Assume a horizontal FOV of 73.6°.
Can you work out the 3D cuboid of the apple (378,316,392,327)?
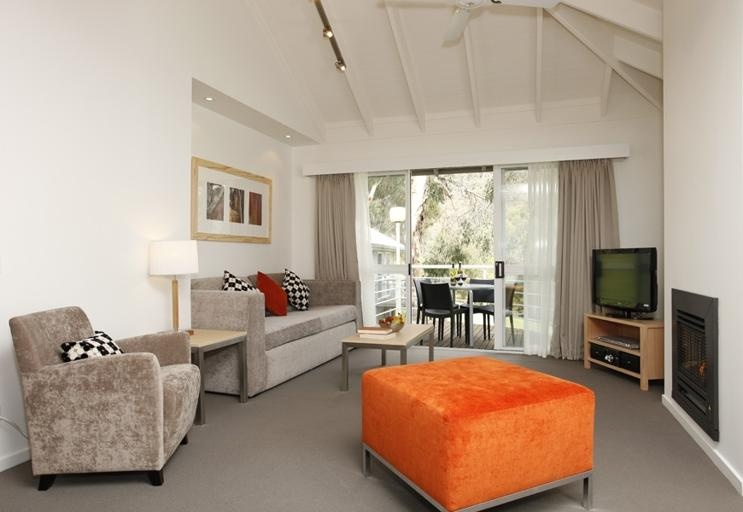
[{"bbox_3d":[0.123,0.675,5.054,0.151,0.094,0.160,-2,-5,15],"label":"apple"}]

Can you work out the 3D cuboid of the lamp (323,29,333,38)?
[{"bbox_3d":[-0.488,-2.479,5.519,0.102,0.113,0.030,-4,-12,-16],"label":"lamp"}]

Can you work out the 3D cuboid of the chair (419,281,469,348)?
[{"bbox_3d":[1.030,0.758,7.013,0.655,0.944,0.887,5,10,34],"label":"chair"}]

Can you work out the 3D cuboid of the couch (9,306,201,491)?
[{"bbox_3d":[-1.775,0.927,3.337,0.998,1.124,0.408,0,8,0],"label":"couch"}]
